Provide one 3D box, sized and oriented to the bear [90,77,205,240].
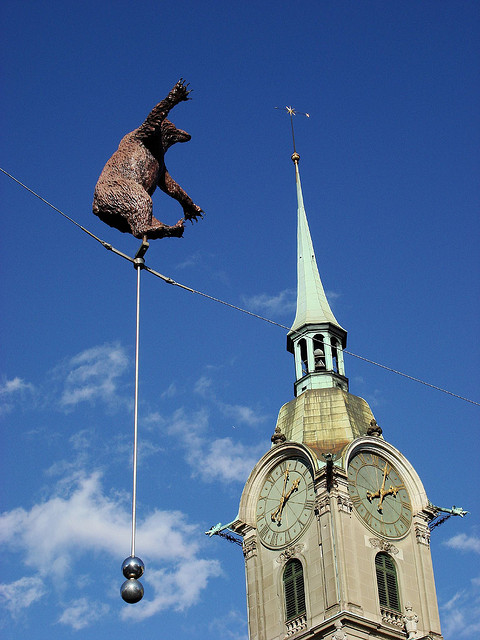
[{"bbox_3d":[-2.195,-3.542,44.944,2.264,3.686,1.829,8,-34,-16],"label":"bear"}]
